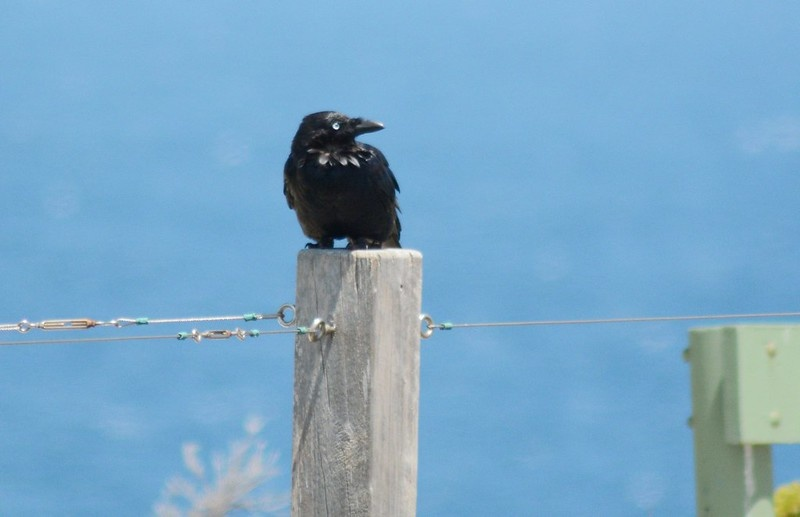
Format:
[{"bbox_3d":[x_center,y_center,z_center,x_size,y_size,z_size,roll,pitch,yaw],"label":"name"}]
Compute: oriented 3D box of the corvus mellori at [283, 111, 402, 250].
[{"bbox_3d":[-0.267,-0.402,9.935,0.523,0.733,0.899,-3,1,16],"label":"corvus mellori"}]
